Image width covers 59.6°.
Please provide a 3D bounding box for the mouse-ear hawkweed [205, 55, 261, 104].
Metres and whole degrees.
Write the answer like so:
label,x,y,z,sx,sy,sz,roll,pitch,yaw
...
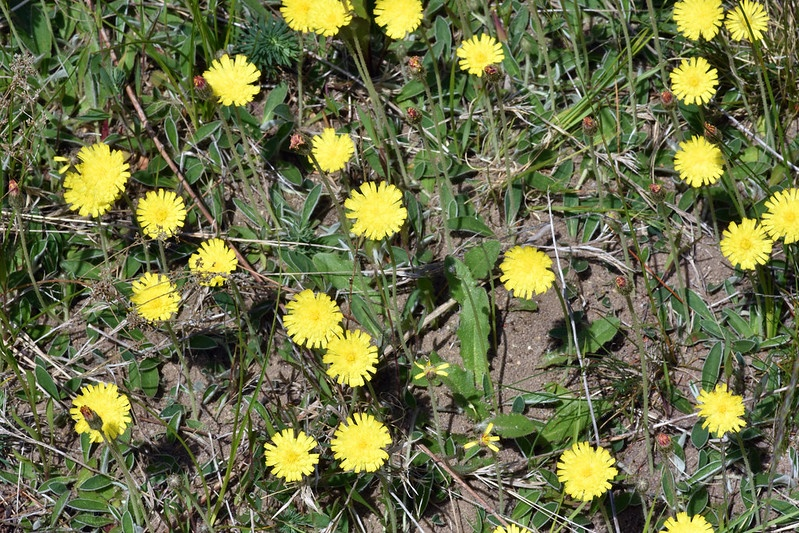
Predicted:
label,x,y,z,sx,sy,sz,roll,pitch,yaw
mouse-ear hawkweed,-0.762,-0.861,3.219,0.226,0.100,0.282,2,87,-2
